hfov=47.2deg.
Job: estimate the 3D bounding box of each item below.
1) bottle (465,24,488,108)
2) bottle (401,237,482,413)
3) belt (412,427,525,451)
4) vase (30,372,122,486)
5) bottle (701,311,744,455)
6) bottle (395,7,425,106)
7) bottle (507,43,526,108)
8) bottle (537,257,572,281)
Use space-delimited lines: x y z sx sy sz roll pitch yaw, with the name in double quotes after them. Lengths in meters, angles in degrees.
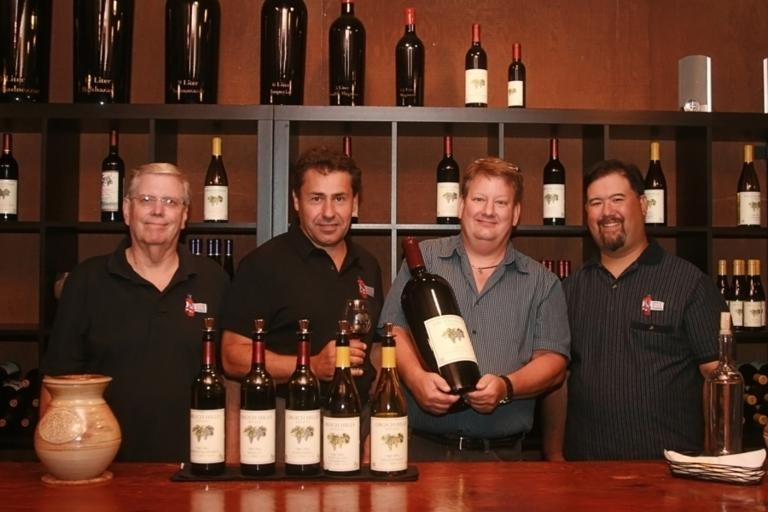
0.472 -0.968 4.509 0.099 0.425 0.164 0 1 10 "bottle"
0.210 0.229 3.486 0.225 0.602 0.402 -1 1 -16 "bottle"
0.364 0.796 3.795 0.480 0.084 0.067 0 1 -1 "belt"
-1.077 0.604 3.097 0.359 0.422 0.349 1 -8 0 "vase"
1.255 0.464 3.257 0.127 0.524 0.200 0 1 19 "bottle"
0.133 -1.002 4.509 0.138 0.495 0.141 -1 1 0 "bottle"
0.677 -0.922 4.510 0.079 0.333 0.076 -1 1 0 "bottle"
0.850 0.069 4.377 0.094 0.053 0.088 5 26 -2 "bottle"
